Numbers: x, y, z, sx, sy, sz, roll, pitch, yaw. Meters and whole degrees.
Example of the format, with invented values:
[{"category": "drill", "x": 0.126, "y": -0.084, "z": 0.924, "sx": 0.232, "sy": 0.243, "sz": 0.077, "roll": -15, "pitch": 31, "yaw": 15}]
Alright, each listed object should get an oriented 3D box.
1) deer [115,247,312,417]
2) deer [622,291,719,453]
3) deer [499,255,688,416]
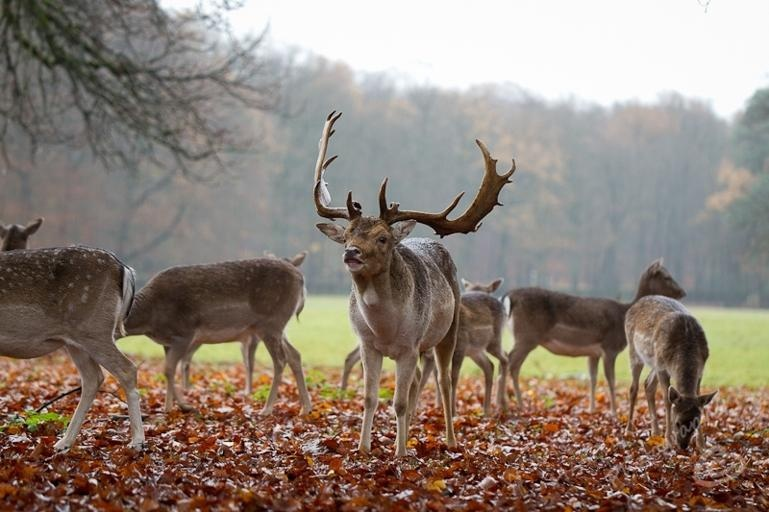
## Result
[{"category": "deer", "x": -3.488, "y": 1.786, "z": 23.069, "sx": 2.761, "sy": 3.210, "sz": 5.088, "roll": 8, "pitch": -9, "yaw": -40}, {"category": "deer", "x": 5.233, "y": 1.958, "z": 22.033, "sx": 1.057, "sy": 1.976, "sz": 3.848, "roll": 4, "pitch": -6, "yaw": -3}, {"category": "deer", "x": 2.444, "y": 1.320, "z": 23.820, "sx": 2.885, "sy": 3.359, "sz": 6.193, "roll": 3, "pitch": -4, "yaw": -31}]
